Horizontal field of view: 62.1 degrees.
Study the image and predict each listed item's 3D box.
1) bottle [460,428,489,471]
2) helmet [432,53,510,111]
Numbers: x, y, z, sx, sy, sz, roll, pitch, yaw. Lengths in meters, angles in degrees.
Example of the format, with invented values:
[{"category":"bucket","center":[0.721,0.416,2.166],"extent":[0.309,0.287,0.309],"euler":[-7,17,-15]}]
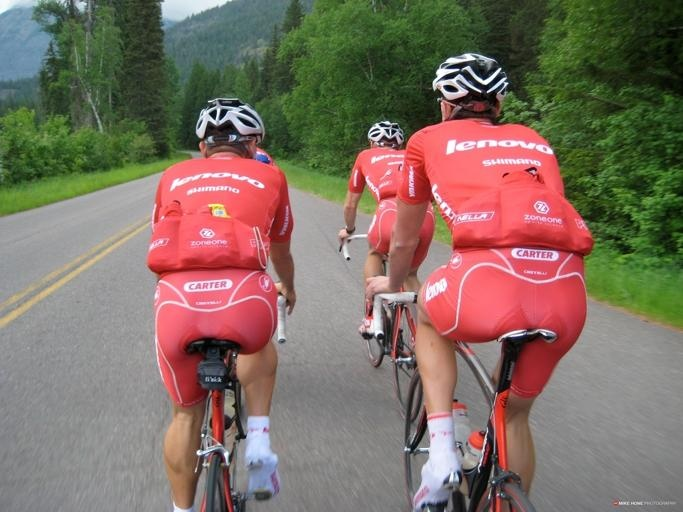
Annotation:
[{"category":"bottle","center":[0.898,1.299,3.811],"extent":[0.114,0.233,0.128],"euler":[19,8,-6]},{"category":"helmet","center":[1.012,-1.139,4.151],"extent":[0.373,0.454,0.484],"euler":[4,-2,-1]}]
